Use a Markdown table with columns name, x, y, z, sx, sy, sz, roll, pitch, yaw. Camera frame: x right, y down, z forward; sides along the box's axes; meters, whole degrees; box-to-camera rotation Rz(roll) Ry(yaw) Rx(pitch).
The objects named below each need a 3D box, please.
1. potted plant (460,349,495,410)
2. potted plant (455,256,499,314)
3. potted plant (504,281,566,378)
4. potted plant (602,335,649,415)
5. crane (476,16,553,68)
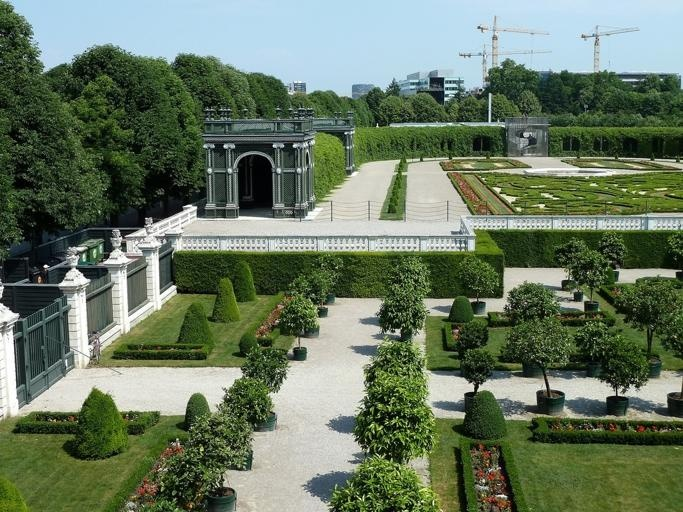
| name | x | y | z | sx | sy | sz | roll | pitch | yaw |
| --- | --- | --- | --- | --- | --- | --- | --- | --- | --- |
| potted plant | 3.569 | 3.289 | 18.697 | 0.813 | 1.674 | 2.990 | -3 | 14 | 10 |
| potted plant | 5.213 | 1.203 | 27.456 | 1.125 | 1.567 | 1.404 | 6 | -16 | -29 |
| potted plant | 5.314 | 2.016 | 20.202 | 2.070 | 1.259 | 2.875 | -2 | 22 | 1 |
| potted plant | 7.034 | 3.103 | 18.176 | 1.127 | 1.673 | 1.275 | 0 | -14 | 25 |
| crane | 23.154 | -28.474 | 97.956 | 9.623 | 7.750 | 1.437 | 2 | 3 | -6 |
